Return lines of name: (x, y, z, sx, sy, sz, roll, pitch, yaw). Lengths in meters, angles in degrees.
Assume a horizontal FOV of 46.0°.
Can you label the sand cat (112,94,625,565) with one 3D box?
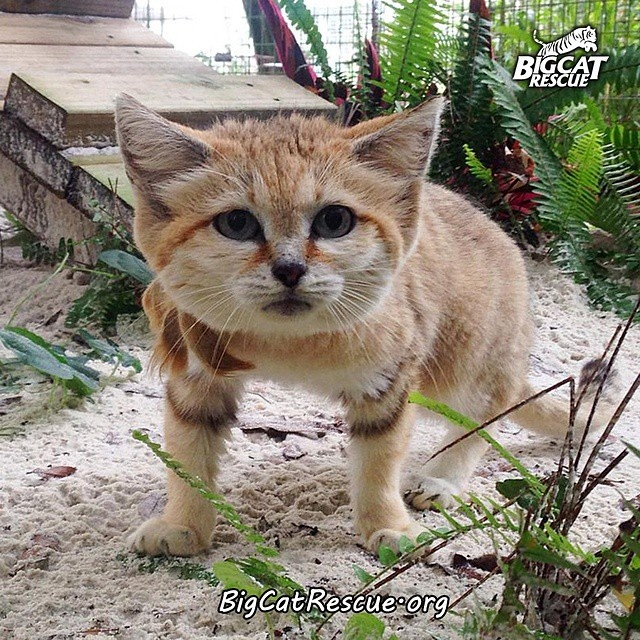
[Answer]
sand cat: (0.116, -0.017, 2.116, 0.700, 1.165, 1.076, 16, 18, 38)
